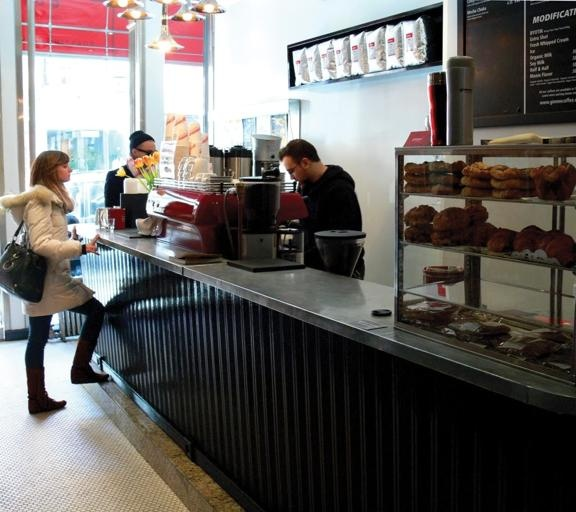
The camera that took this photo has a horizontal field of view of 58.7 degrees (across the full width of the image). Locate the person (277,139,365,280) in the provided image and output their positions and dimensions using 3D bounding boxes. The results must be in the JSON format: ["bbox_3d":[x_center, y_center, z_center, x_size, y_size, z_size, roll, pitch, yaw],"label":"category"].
[{"bbox_3d":[0.209,-0.381,3.587,0.618,0.888,0.494,2,9,23],"label":"person"}]

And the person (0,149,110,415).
[{"bbox_3d":[-1.608,0.188,3.553,0.603,1.823,0.569,-4,9,-20],"label":"person"}]

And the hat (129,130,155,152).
[{"bbox_3d":[-1.387,-1.091,4.830,0.243,0.179,0.197,-3,21,-10],"label":"hat"}]

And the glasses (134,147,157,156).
[{"bbox_3d":[-1.294,-0.968,4.710,0.202,0.099,0.216,-6,9,-27],"label":"glasses"}]

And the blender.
[{"bbox_3d":[-0.187,-0.184,2.583,0.295,0.407,0.182,0,9,9],"label":"blender"}]
